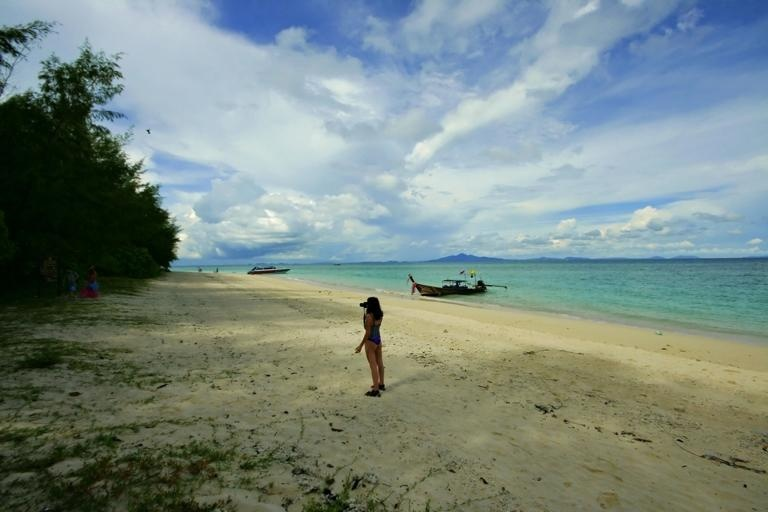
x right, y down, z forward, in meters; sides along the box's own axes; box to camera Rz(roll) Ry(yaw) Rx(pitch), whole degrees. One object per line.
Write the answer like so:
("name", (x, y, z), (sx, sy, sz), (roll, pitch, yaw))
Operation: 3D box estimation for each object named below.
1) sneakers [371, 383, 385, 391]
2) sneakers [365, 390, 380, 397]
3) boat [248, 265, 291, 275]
("sneakers", (-0.202, 4.854, 16.403), (0.571, 0.210, 0.189), (12, -8, -7))
("sneakers", (-0.413, 5.021, 16.163), (0.568, 0.206, 0.197), (1, -9, 17))
("boat", (-26.454, 3.447, 102.634), (5.772, 1.655, 12.057), (0, -2, 2))
